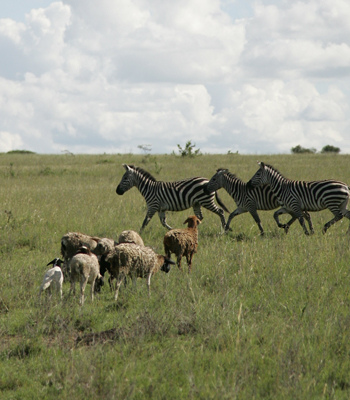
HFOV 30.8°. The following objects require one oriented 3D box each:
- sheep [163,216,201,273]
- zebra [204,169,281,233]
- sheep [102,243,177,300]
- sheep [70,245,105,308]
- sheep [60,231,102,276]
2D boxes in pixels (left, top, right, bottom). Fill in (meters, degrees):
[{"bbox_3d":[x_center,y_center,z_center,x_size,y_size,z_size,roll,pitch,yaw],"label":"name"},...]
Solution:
[{"bbox_3d":[0.161,0.795,11.456,0.333,1.085,1.176,1,-2,28],"label":"sheep"},{"bbox_3d":[1.918,0.194,15.776,2.239,1.742,0.717,9,-38,-12],"label":"zebra"},{"bbox_3d":[-0.568,1.186,10.311,1.206,0.952,0.508,7,4,-35],"label":"sheep"},{"bbox_3d":[-1.411,1.134,10.064,0.396,0.995,0.502,-1,8,-14],"label":"sheep"},{"bbox_3d":[-1.537,0.990,11.352,1.089,0.802,0.337,9,-7,-28],"label":"sheep"}]
